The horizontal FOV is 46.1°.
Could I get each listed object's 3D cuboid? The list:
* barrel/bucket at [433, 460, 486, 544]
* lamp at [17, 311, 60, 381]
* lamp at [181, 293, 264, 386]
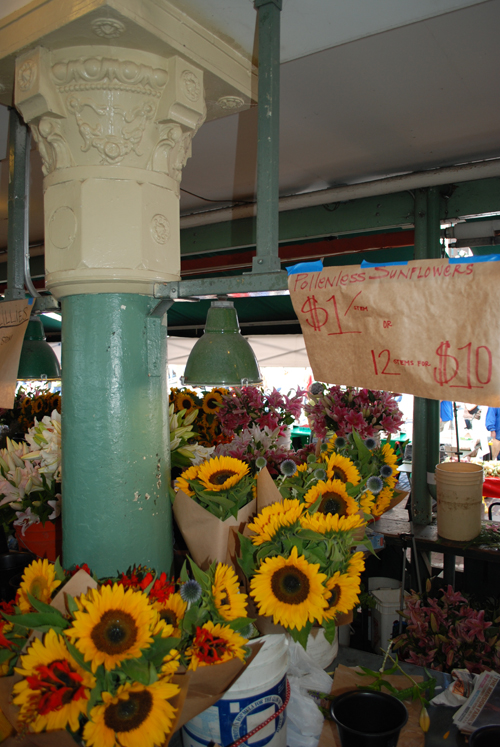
[{"bbox_3d":[1.130,0.705,3.173,0.235,0.424,0.323,-1,0,16],"label":"barrel/bucket"},{"bbox_3d":[-0.918,-0.111,2.556,0.157,0.270,0.303,0,0,-18],"label":"lamp"},{"bbox_3d":[-0.095,-0.114,2.077,0.287,0.277,0.271,0,2,-5],"label":"lamp"}]
